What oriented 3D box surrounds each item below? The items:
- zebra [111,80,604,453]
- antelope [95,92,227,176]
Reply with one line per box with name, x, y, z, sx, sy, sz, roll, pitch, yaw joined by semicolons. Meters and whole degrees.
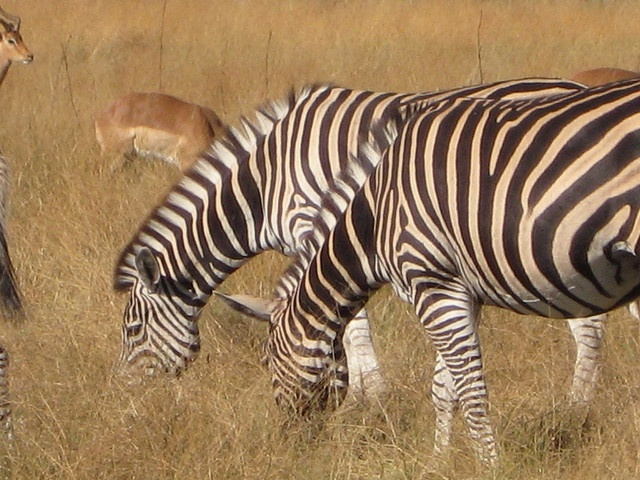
zebra;0.318;-0.173;9.441;4.172;2.634;1.194;-14;36;-13
antelope;-1.840;-1.165;13.029;1.333;0.420;0.996;11;10;5
